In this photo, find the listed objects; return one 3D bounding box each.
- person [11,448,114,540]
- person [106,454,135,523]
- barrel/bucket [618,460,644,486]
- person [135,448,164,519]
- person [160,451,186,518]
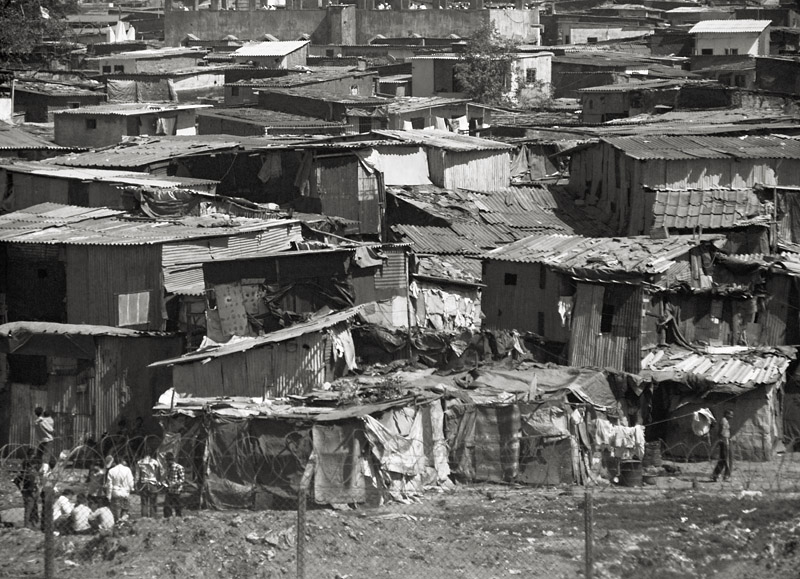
[{"bbox_3d":[-5.464,3.448,22.162,1.285,0.624,1.608,3,6,-8],"label":"person"},{"bbox_3d":[-4.601,3.314,22.135,0.464,0.874,1.102,-1,3,-13],"label":"person"},{"bbox_3d":[4.129,3.360,24.306,0.426,0.449,0.423,0,-10,0],"label":"barrel/bucket"},{"bbox_3d":[-4.183,3.308,22.453,0.404,0.908,0.607,-1,3,-11],"label":"person"},{"bbox_3d":[-3.769,3.348,22.490,0.361,0.866,0.711,-1,3,-9],"label":"person"}]
